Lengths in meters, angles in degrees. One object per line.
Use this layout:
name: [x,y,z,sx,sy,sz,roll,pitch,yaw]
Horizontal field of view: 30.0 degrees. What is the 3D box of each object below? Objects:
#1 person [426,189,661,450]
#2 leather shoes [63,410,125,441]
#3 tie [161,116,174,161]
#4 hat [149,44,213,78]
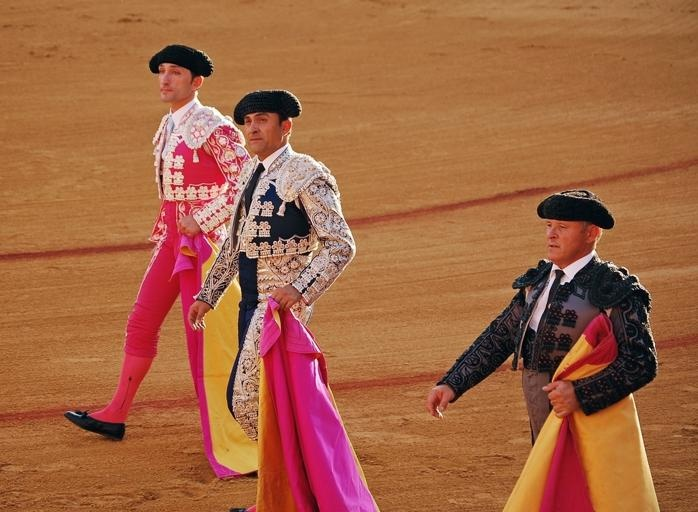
person: [1.268,0.378,7.854,1.235,1.512,0.522,11,15,12]
leather shoes: [-1.845,1.229,9.594,0.512,0.168,0.177,17,0,-5]
tie: [-1.307,-0.878,9.647,0.089,0.315,0.100,8,-10,-2]
hat: [-1.228,-1.468,9.648,0.415,0.152,0.270,17,4,-9]
